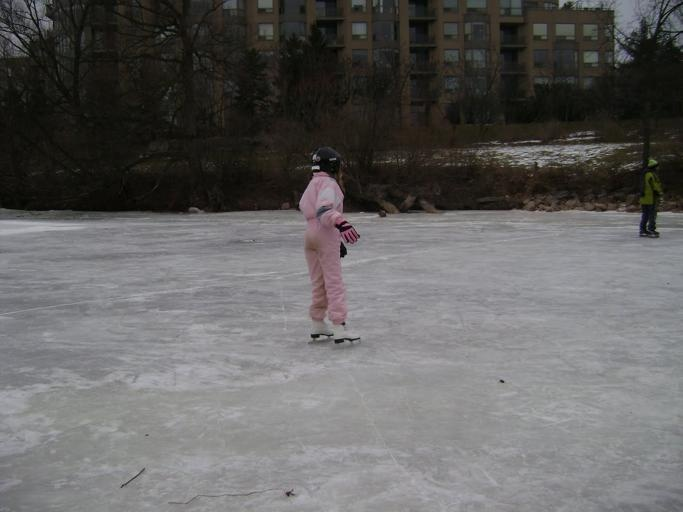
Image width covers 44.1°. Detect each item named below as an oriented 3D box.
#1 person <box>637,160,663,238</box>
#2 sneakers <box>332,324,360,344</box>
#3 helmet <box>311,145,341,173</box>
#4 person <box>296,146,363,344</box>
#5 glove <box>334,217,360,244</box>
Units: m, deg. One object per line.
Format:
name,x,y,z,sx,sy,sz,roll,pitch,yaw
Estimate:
person,7.264,-1.376,19.866,0.462,1.891,1.525,4,13,20
sneakers,0.058,0.851,9.178,0.344,0.212,0.211,-5,12,-18
helmet,-0.176,-1.082,9.435,0.269,0.282,0.332,11,16,32
person,-0.151,-0.104,9.245,0.556,2.130,0.944,-2,12,-7
glove,0.045,-0.260,8.877,0.191,0.290,0.087,-38,-23,5
